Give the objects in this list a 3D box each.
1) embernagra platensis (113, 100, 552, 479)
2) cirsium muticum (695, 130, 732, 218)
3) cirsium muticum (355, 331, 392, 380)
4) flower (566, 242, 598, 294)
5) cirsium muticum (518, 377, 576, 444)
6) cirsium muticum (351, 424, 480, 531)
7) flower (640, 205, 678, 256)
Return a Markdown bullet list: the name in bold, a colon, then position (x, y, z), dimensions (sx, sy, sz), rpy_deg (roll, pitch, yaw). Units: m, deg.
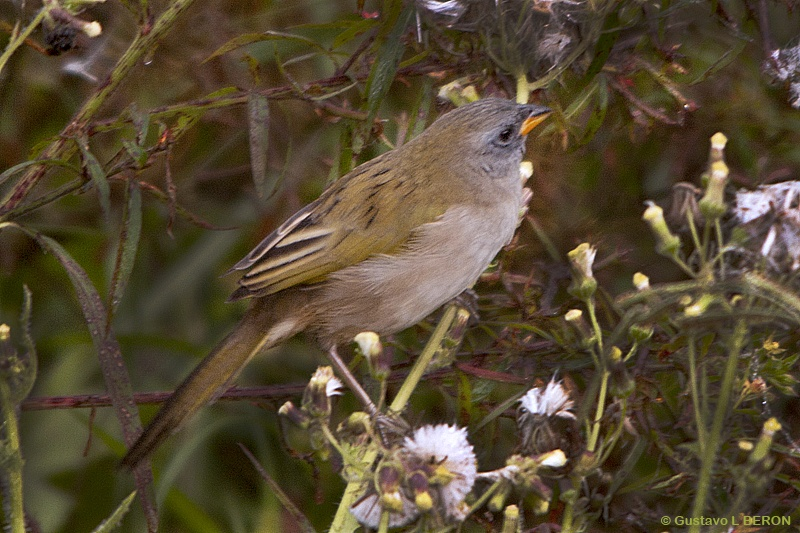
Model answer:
- **embernagra platensis**: position (-0.153, -0.002, 3.498), dimensions (1.337, 1.353, 0.350), rpy_deg (4, 13, -14)
- **cirsium muticum**: position (1.076, -0.307, 3.148), dimensions (0.093, 0.289, 0.209), rpy_deg (11, 13, 17)
- **cirsium muticum**: position (-0.103, 0.290, 3.135), dimensions (0.100, 0.150, 0.177), rpy_deg (1, 14, -23)
- **flower**: position (0.658, 0.010, 3.295), dimensions (0.111, 0.196, 0.186), rpy_deg (12, 14, 23)
- **cirsium muticum**: position (0.487, 0.485, 3.255), dimensions (0.241, 0.200, 0.260), rpy_deg (0, 11, 8)
- **cirsium muticum**: position (0.045, 0.635, 3.151), dimensions (0.394, 0.334, 0.363), rpy_deg (-2, 18, -8)
- **flower**: position (0.880, -0.127, 3.197), dimensions (0.086, 0.187, 0.085), rpy_deg (-28, -10, 5)
